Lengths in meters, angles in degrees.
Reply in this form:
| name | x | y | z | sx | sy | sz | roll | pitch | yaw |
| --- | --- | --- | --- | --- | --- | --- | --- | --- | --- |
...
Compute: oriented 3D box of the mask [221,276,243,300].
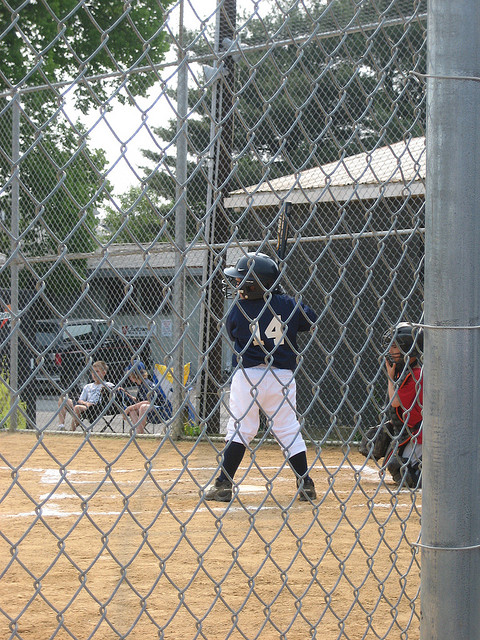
| name | x | y | z | sx | sy | sz | roll | pitch | yaw |
| --- | --- | --- | --- | --- | --- | --- | --- | --- | --- |
| mask | -0.018 | -0.173 | 8.391 | 0.153 | 0.165 | 0.119 | 2 | 1 | 8 |
